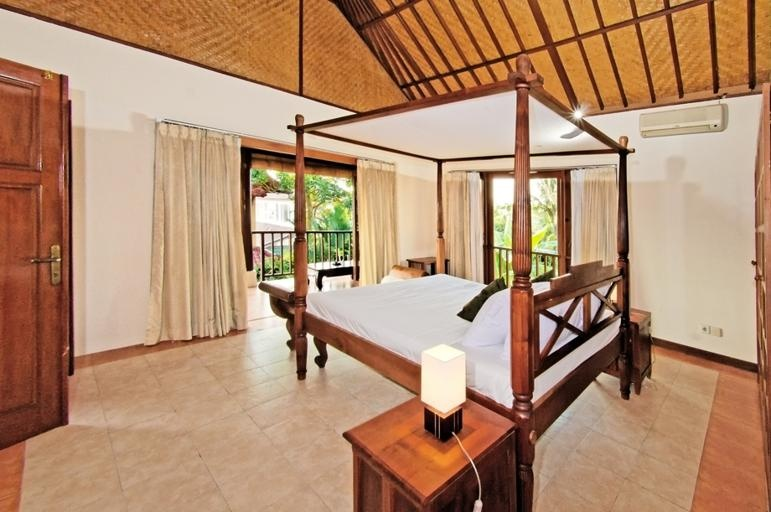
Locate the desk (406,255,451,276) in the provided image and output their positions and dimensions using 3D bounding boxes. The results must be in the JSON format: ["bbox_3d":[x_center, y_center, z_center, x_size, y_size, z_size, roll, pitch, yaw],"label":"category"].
[{"bbox_3d":[0.717,0.141,8.363,0.457,0.439,0.345,-6,9,-40],"label":"desk"}]

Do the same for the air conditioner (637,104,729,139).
[{"bbox_3d":[3.459,-1.567,5.858,0.884,0.314,0.124,3,7,29],"label":"air conditioner"}]

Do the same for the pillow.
[{"bbox_3d":[1.045,0.533,4.810,0.837,0.544,0.920,3,7,33],"label":"pillow"}]
